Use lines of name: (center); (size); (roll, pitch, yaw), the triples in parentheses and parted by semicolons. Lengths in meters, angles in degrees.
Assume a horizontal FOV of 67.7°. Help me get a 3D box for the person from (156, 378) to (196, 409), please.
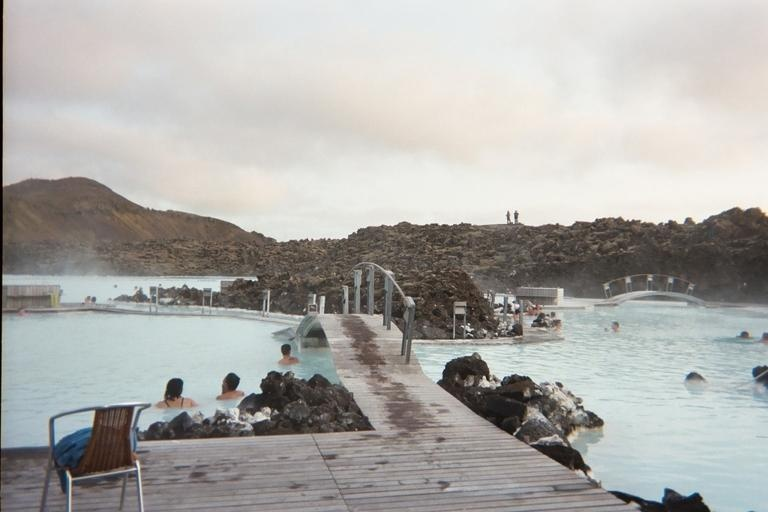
person: (-6.642, 4.366, 18.220); (1.145, 0.949, 0.498); (0, 4, -24)

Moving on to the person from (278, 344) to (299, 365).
person: (-4.031, 4.195, 24.190); (0.703, 0.626, 0.357); (-4, 19, -13)

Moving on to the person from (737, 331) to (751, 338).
person: (20.481, 4.499, 32.485); (0.620, 0.304, 1.340); (3, 3, 27)

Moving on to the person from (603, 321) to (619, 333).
person: (13.934, 4.350, 35.059); (0.705, 0.727, 0.468); (3, -5, 44)
